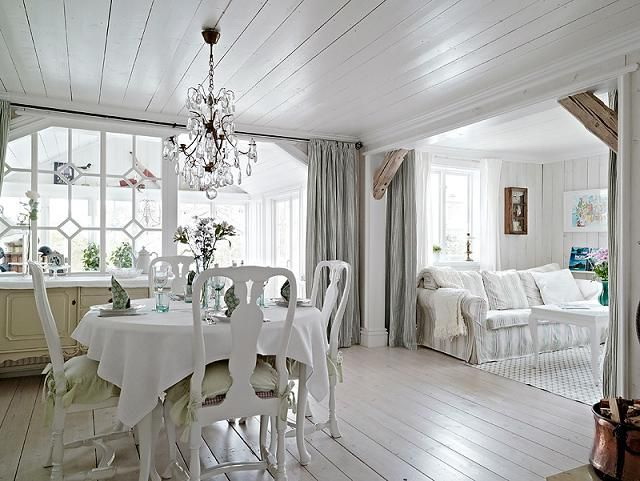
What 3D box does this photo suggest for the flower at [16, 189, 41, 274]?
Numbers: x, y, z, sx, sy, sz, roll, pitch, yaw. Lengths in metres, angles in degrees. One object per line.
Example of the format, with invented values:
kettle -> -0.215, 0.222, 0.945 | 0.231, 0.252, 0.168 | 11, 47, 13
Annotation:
flower -> -2.952, -0.150, 4.229 | 0.193, 0.669, 0.089 | 1, 3, 9

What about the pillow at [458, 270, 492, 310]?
pillow -> 2.000, 0.611, 5.344 | 0.380, 0.408, 0.107 | 2, -14, -27

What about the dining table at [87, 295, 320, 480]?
dining table -> -0.867, 0.636, 2.436 | 0.932, 0.556, 0.886 | 8, -9, -43

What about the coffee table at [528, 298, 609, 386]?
coffee table -> 2.620, 1.056, 4.480 | 0.574, 0.517, 0.836 | 4, -8, 34

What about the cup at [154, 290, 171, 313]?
cup -> -1.052, 0.407, 2.811 | 0.124, 0.163, 0.130 | 0, 0, 0

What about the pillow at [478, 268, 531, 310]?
pillow -> 2.499, 0.638, 5.431 | 0.387, 0.430, 0.113 | -13, -18, 23
